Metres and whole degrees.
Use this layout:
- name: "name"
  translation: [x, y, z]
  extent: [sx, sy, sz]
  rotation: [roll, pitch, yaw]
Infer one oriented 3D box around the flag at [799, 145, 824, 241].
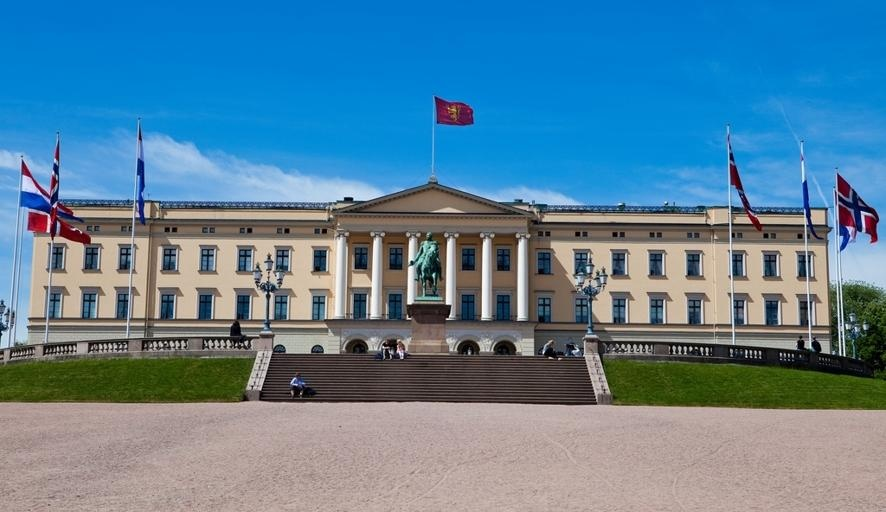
- name: "flag"
  translation: [32.035, -3.489, 76.715]
  extent: [2.369, 9.216, 2.743]
  rotation: [1, -1, -8]
